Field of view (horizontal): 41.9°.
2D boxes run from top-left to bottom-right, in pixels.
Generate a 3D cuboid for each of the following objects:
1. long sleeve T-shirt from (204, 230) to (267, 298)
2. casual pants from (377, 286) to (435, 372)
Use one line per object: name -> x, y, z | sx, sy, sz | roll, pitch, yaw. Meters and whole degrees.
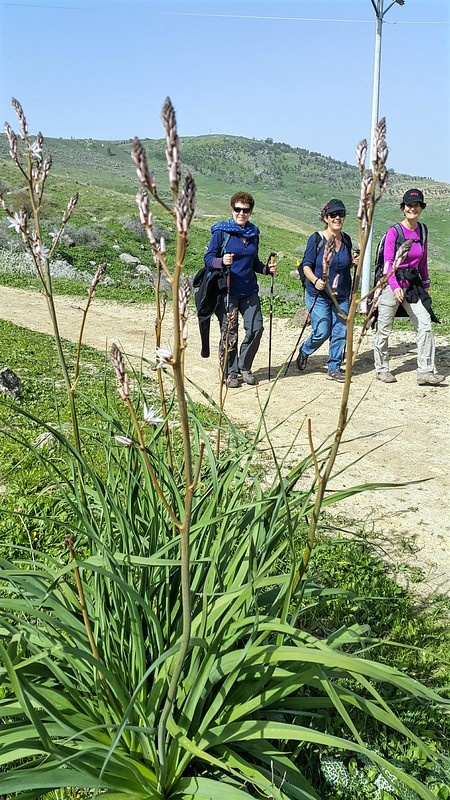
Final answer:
long sleeve T-shirt -> 0.182, -1.739, 7.476 | 1.096, 0.916, 0.535 | -6, 16, -41
casual pants -> 2.468, -1.126, 8.212 | 0.806, 1.810, 0.385 | -4, 28, 17
